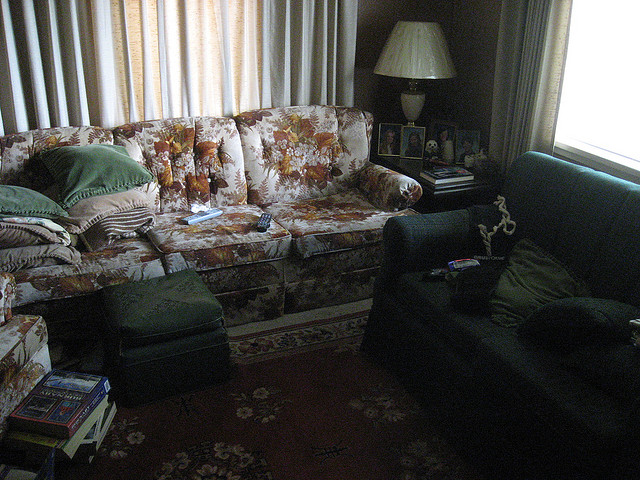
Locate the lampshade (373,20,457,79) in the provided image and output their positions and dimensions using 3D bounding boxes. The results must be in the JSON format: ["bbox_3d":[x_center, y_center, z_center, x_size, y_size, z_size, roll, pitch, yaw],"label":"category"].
[{"bbox_3d":[0.650,-1.370,3.444,0.642,0.315,0.578,-5,32,-10],"label":"lampshade"}]

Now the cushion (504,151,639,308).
[{"bbox_3d":[1.094,-0.024,2.169,0.361,0.400,0.605,-12,35,-10],"label":"cushion"}]

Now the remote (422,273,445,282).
[{"bbox_3d":[0.524,0.174,2.275,0.084,0.026,0.041,-4,30,-3],"label":"remote"}]

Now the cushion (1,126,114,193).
[{"bbox_3d":[-1.556,-0.478,2.818,0.755,0.334,0.432,-8,25,-30],"label":"cushion"}]

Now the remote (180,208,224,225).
[{"bbox_3d":[-0.687,-0.147,2.833,0.194,0.024,0.088,-16,18,-42],"label":"remote"}]

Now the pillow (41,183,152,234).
[{"bbox_3d":[-1.205,-0.195,2.532,0.347,0.095,0.349,35,42,24],"label":"pillow"}]

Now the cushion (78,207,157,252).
[{"bbox_3d":[-1.102,-0.095,2.616,0.305,0.105,0.385,15,30,25],"label":"cushion"}]

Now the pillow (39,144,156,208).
[{"bbox_3d":[-1.177,-0.360,2.538,0.425,0.121,0.406,-21,62,-41],"label":"pillow"}]

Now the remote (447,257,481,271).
[{"bbox_3d":[0.663,0.107,2.303,0.120,0.025,0.062,-9,18,-2],"label":"remote"}]

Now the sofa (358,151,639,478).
[{"bbox_3d":[0.755,0.343,2.072,0.809,0.917,1.313,2,18,-10],"label":"sofa"}]

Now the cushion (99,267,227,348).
[{"bbox_3d":[-0.763,0.274,2.234,0.383,0.135,0.363,-9,27,-26],"label":"cushion"}]

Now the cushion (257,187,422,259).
[{"bbox_3d":[0.021,-0.144,2.952,0.604,0.143,0.533,-11,27,-19],"label":"cushion"}]

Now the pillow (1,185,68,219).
[{"bbox_3d":[-1.377,-0.180,2.341,0.340,0.102,0.394,-1,17,-28],"label":"pillow"}]

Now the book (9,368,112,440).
[{"bbox_3d":[-1.000,0.628,1.901,0.228,0.046,0.213,8,21,8],"label":"book"}]

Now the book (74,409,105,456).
[{"bbox_3d":[-0.906,0.784,1.943,0.037,0.128,0.129,7,46,10],"label":"book"}]

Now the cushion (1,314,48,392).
[{"bbox_3d":[-1.160,0.452,1.899,0.176,0.201,0.182,-2,21,-19],"label":"cushion"}]

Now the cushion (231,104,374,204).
[{"bbox_3d":[-0.212,-0.635,3.406,1.073,0.625,0.602,-4,26,-21],"label":"cushion"}]

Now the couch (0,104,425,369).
[{"bbox_3d":[-0.553,-0.088,2.746,2.133,1.060,1.226,-11,28,-23],"label":"couch"}]

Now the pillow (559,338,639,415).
[{"bbox_3d":[0.944,0.465,1.657,0.222,0.077,0.223,-5,21,-24],"label":"pillow"}]

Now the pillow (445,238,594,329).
[{"bbox_3d":[0.878,0.196,2.106,0.409,0.119,0.400,-34,54,-10],"label":"pillow"}]
